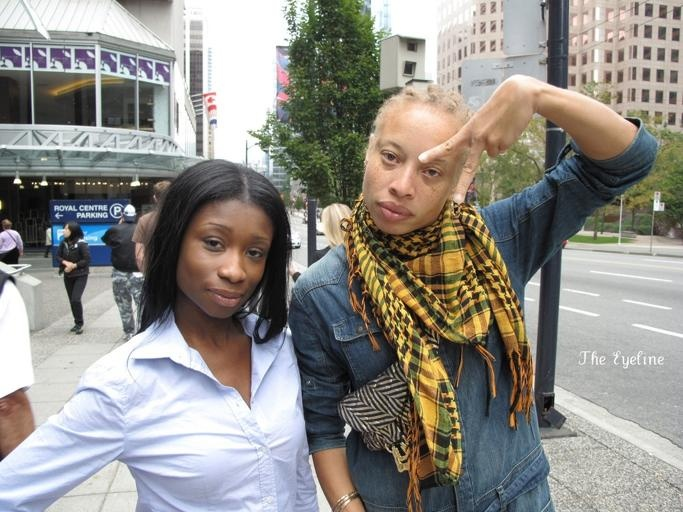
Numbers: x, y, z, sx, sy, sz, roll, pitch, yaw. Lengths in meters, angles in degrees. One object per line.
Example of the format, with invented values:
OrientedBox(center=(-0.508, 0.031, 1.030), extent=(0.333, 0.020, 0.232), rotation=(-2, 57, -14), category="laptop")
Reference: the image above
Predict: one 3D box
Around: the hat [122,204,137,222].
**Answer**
OrientedBox(center=(-3.374, -0.666, 8.625), extent=(0.262, 0.248, 0.448), rotation=(0, 25, -24), category="hat")

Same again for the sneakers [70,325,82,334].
OrientedBox(center=(-4.413, 1.235, 9.047), extent=(0.094, 0.125, 0.266), rotation=(3, 5, -36), category="sneakers")

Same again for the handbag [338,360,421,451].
OrientedBox(center=(0.134, 0.526, 1.876), extent=(0.264, 0.272, 0.105), rotation=(-41, -8, 12), category="handbag")
